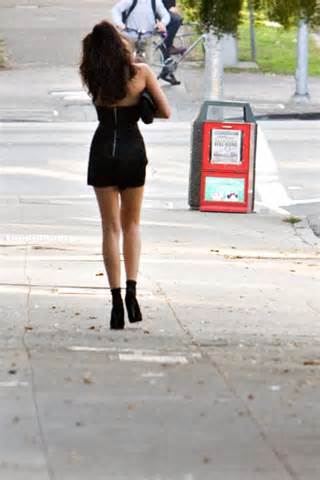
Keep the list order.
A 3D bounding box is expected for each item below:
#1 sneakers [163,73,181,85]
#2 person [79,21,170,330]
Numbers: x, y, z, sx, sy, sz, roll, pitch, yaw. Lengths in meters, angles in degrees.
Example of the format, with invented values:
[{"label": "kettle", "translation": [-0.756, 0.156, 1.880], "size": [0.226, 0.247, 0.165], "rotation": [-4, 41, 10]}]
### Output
[{"label": "sneakers", "translation": [0.349, -4.930, 21.045], "size": [0.195, 0.214, 0.557], "rotation": [-1, 20, -39]}, {"label": "person", "translation": [-0.209, -0.340, 3.716], "size": [0.477, 1.629, 0.346], "rotation": [3, 12, -1]}]
